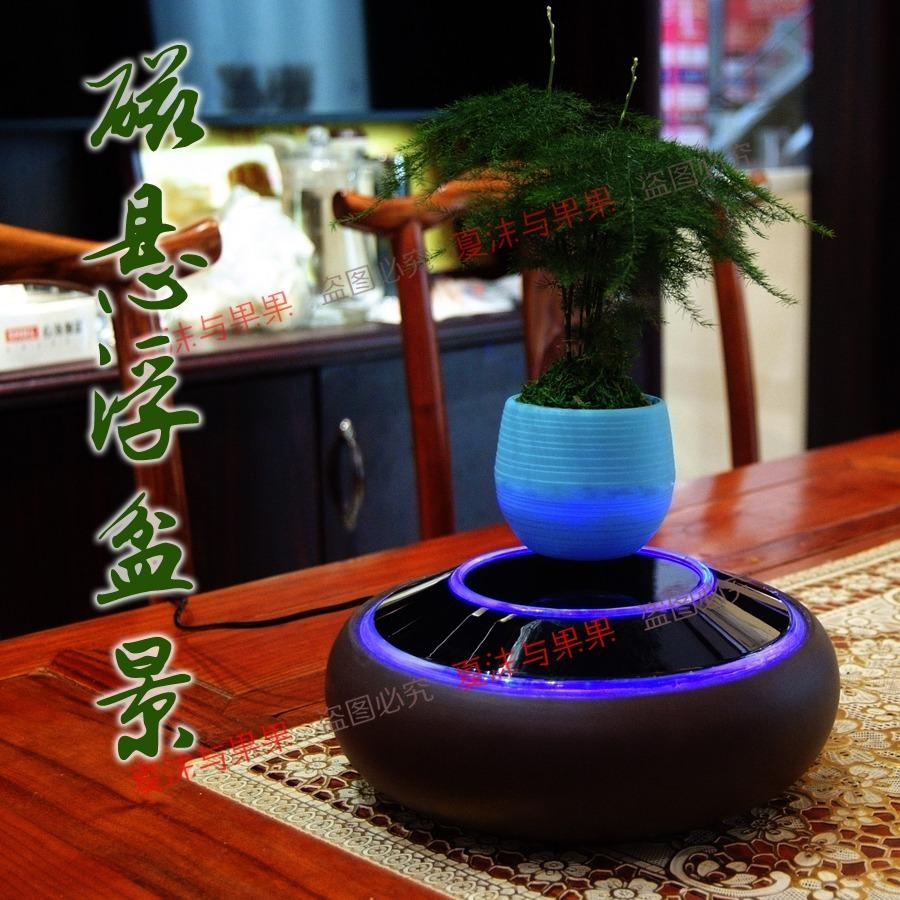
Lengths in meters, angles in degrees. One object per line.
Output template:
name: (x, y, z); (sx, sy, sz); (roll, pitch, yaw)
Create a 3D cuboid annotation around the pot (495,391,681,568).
pot: (0.068, 0.012, 0.441); (0.099, 0.073, 0.090); (0, 11, 0)

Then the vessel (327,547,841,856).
vessel: (0.059, 0.100, 0.384); (0.233, 0.088, 0.141); (-2, 6, -4)
